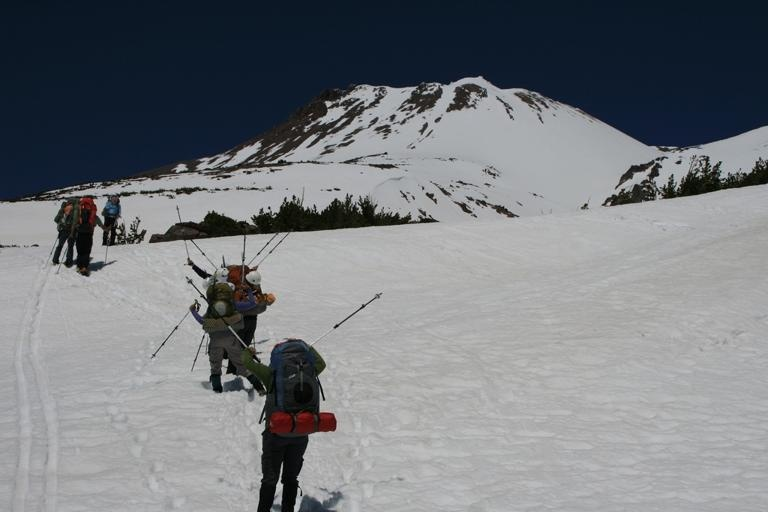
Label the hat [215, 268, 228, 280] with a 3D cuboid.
[{"bbox_3d":[-4.156,0.478,20.119,0.293,0.356,0.396,3,5,-6],"label":"hat"}]

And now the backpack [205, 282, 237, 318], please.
[{"bbox_3d":[-4.139,1.129,19.993,0.774,0.893,0.467,2,6,-12],"label":"backpack"}]

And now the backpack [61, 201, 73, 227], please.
[{"bbox_3d":[-10.685,-1.444,26.698,0.599,0.770,0.287,1,-12,38],"label":"backpack"}]

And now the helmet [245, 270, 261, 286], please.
[{"bbox_3d":[-3.424,0.561,20.457,0.420,0.357,0.344,-4,-13,44],"label":"helmet"}]

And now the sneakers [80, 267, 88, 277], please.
[{"bbox_3d":[-10.166,0.535,26.706,0.209,0.325,0.159,10,37,-28],"label":"sneakers"}]
